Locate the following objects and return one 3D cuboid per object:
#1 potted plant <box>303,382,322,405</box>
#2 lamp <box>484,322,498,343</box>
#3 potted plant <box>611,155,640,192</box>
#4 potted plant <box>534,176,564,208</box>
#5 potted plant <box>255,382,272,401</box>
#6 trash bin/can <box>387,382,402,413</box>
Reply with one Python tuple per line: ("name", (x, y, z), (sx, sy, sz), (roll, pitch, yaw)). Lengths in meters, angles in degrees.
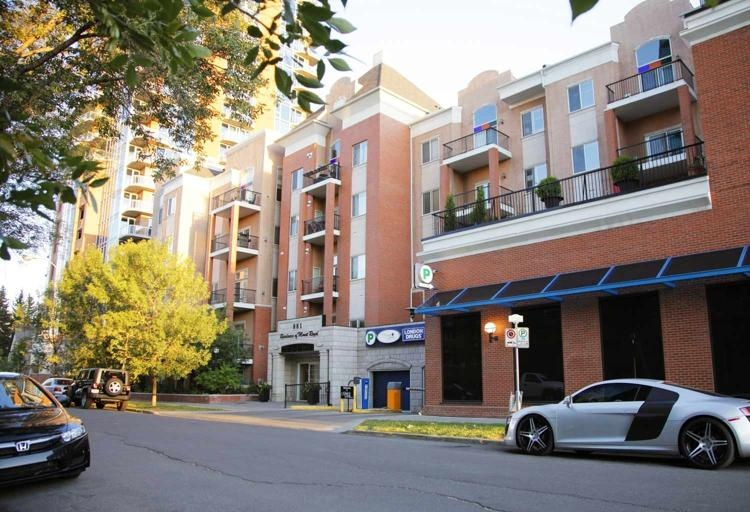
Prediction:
("potted plant", (-3.721, 8.519, 37.127), (1.481, 1.492, 1.244), (-3, -26, 9))
("lamp", (4.609, 2.981, 24.155), (0.522, 0.811, 2.017), (-3, -15, 10))
("potted plant", (9.626, -3.195, 23.337), (0.926, 1.360, 0.754), (-6, -15, 20))
("potted plant", (7.257, -2.682, 25.972), (1.075, 1.076, 1.066), (-11, -5, -34))
("potted plant", (-7.366, 9.116, 40.482), (0.902, 1.226, 1.052), (3, -15, -14))
("trash bin/can", (1.065, 7.659, 33.129), (0.694, 1.384, 0.603), (-1, -14, 3))
